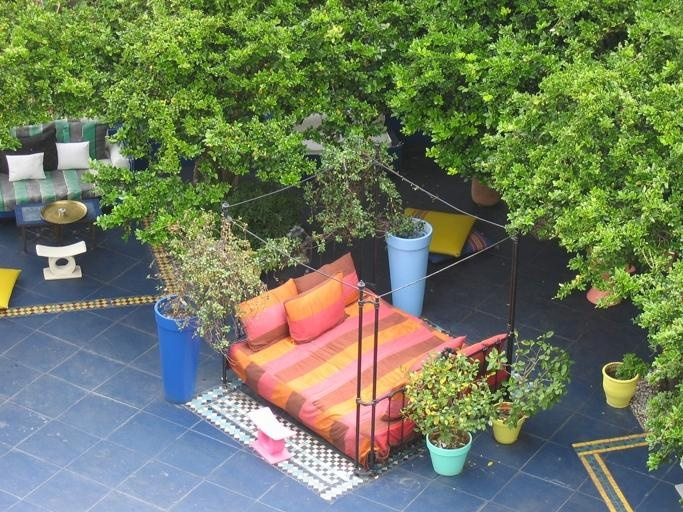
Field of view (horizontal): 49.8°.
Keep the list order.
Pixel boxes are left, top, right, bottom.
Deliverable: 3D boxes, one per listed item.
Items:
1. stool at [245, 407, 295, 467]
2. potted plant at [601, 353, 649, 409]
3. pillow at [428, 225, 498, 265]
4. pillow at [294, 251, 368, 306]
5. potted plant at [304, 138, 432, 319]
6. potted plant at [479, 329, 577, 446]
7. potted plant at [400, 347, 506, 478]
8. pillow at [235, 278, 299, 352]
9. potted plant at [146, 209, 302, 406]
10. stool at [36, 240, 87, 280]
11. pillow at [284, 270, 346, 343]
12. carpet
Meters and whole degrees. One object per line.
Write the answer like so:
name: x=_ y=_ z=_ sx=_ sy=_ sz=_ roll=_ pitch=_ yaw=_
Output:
stool: x=-1.122 y=2.728 z=11.177 sx=0.638 sy=0.734 sz=0.763 roll=-6 pitch=21 yaw=-35
potted plant: x=4.565 y=2.007 z=12.000 sx=0.643 sy=0.714 sz=0.553 roll=-26 pitch=39 yaw=-32
pillow: x=2.782 y=-0.260 z=15.559 sx=0.897 sy=0.211 sz=0.896 roll=-10 pitch=28 yaw=5
pillow: x=-0.280 y=0.491 z=13.206 sx=1.465 sy=1.042 sz=0.794 roll=-18 pitch=28 yaw=-39
potted plant: x=0.689 y=-0.881 z=13.440 sx=1.432 sy=3.647 sz=1.908 roll=-21 pitch=31 yaw=-39
potted plant: x=2.913 y=1.934 z=11.599 sx=1.476 sy=1.941 sz=1.374 roll=15 pitch=25 yaw=35
potted plant: x=1.663 y=2.413 z=11.373 sx=2.077 sy=2.379 sz=1.663 roll=0 pitch=25 yaw=-2
pillow: x=-1.226 y=1.006 z=12.054 sx=0.355 sy=0.709 sz=1.003 roll=13 pitch=32 yaw=42
potted plant: x=-2.420 y=1.065 z=12.187 sx=2.061 sy=3.761 sz=2.920 roll=5 pitch=22 yaw=14
stool: x=-5.565 y=0.052 z=14.695 sx=0.887 sy=0.584 sz=0.700 roll=-10 pitch=33 yaw=-12
pillow: x=-0.458 y=0.914 z=12.499 sx=0.327 sy=0.684 sz=0.988 roll=14 pitch=36 yaw=42
carpet: x=0.257 y=2.472 z=11.223 sx=5.407 sy=0.259 sz=4.237 roll=-17 pitch=26 yaw=-38
